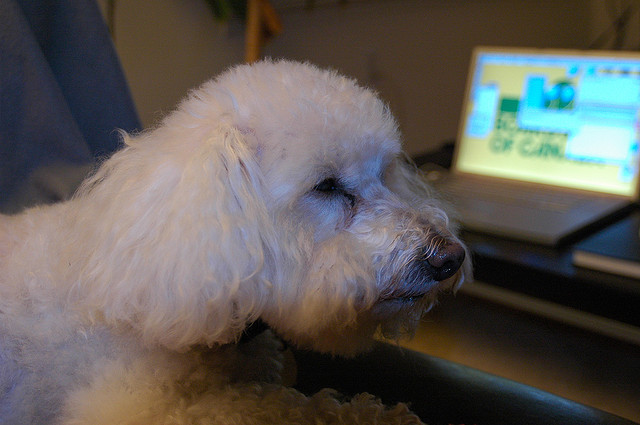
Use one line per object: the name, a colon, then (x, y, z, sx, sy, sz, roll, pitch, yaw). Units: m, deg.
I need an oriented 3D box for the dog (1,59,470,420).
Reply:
dog: (-0.216, 0.065, 1.468, 1.045, 0.554, 0.716, 5, 38, 9)
